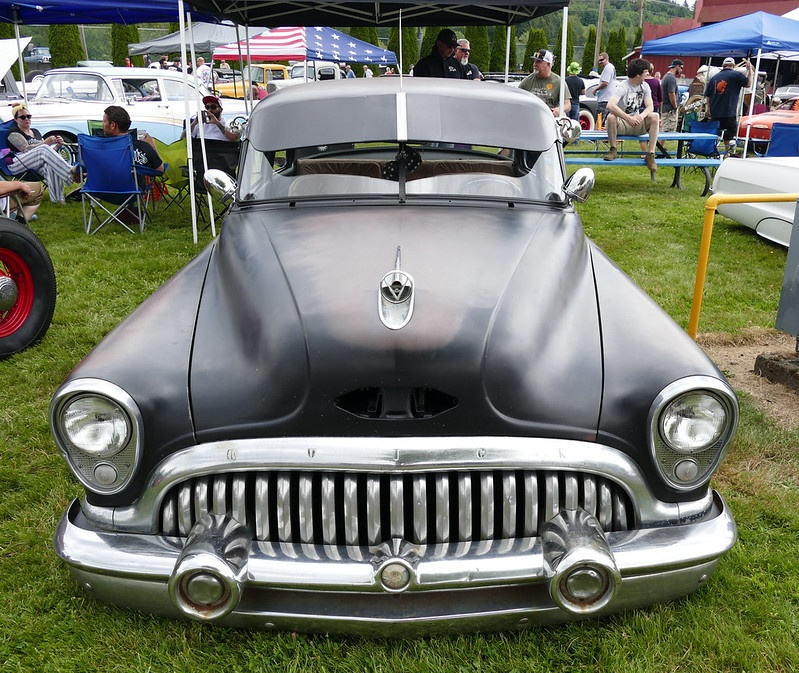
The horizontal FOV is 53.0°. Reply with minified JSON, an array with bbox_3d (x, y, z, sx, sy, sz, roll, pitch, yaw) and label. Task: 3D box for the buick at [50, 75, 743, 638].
[{"bbox_3d":[0.127,-0.132,3.906,2.775,1.976,2.710,4,22,8],"label":"buick"}]
